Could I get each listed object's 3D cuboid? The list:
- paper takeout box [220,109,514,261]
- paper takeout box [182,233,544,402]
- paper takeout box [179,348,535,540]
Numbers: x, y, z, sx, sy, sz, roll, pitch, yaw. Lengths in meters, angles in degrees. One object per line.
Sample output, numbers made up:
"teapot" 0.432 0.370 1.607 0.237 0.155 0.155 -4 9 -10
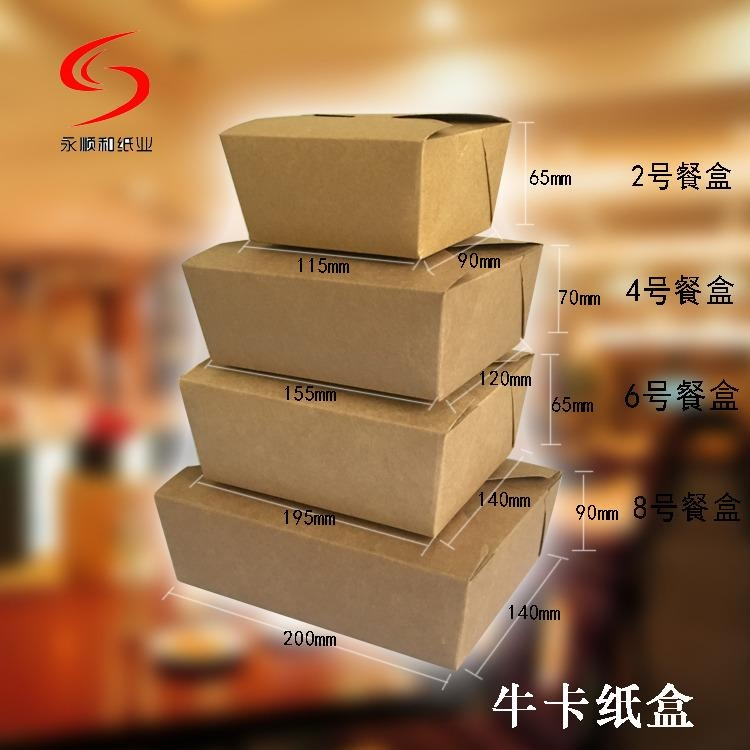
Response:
"paper takeout box" -0.025 -0.273 1.326 0.347 0.155 0.311 7 17 25
"paper takeout box" -0.011 -0.137 1.468 0.602 0.192 0.605 -12 22 -34
"paper takeout box" -0.009 0.091 1.546 0.663 0.187 0.628 0 16 -10
